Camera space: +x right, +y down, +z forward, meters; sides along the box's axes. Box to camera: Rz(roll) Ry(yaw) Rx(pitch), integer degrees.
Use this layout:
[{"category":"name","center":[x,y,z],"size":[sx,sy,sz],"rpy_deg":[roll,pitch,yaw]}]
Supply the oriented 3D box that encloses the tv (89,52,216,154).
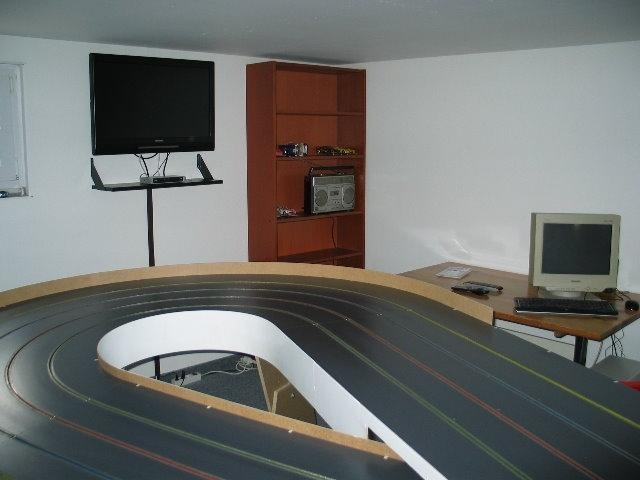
[{"category":"tv","center":[-1.289,-1.033,3.483],"size":[0.848,0.618,0.086],"rpy_deg":[-7,14,-38]}]

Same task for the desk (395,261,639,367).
[{"category":"desk","center":[1.207,0.434,2.891],"size":[0.782,0.315,1.258],"rpy_deg":[-6,9,-25]}]

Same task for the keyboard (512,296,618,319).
[{"category":"keyboard","center":[1.317,0.361,2.582],"size":[0.555,0.079,0.252],"rpy_deg":[-1,8,2]}]

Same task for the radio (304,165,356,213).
[{"category":"radio","center":[0.101,-0.482,4.367],"size":[0.504,0.442,0.186],"rpy_deg":[-8,17,-31]}]

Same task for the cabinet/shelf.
[{"category":"cabinet/shelf","center":[-0.113,-0.625,4.337],"size":[1.054,1.890,0.585],"rpy_deg":[-9,11,-41]}]
